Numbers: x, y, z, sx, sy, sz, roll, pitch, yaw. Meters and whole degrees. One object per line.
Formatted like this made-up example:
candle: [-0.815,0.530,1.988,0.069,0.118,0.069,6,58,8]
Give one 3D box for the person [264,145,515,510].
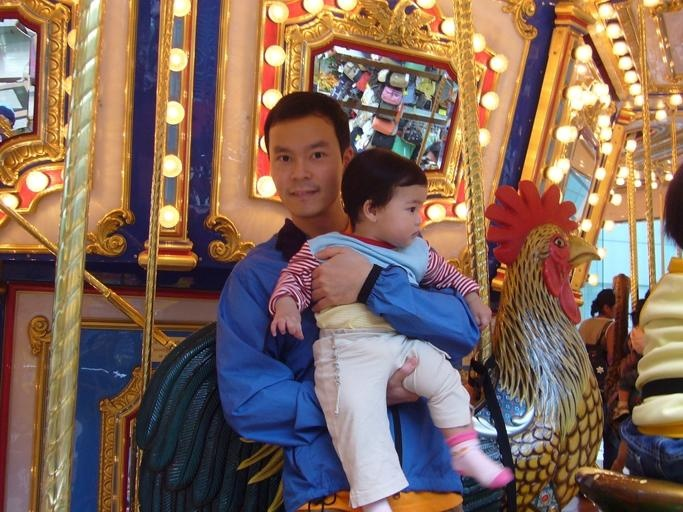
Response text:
person: [0.133,0.190,2.087,0.691,1.064,0.314,0,-9,-5]
